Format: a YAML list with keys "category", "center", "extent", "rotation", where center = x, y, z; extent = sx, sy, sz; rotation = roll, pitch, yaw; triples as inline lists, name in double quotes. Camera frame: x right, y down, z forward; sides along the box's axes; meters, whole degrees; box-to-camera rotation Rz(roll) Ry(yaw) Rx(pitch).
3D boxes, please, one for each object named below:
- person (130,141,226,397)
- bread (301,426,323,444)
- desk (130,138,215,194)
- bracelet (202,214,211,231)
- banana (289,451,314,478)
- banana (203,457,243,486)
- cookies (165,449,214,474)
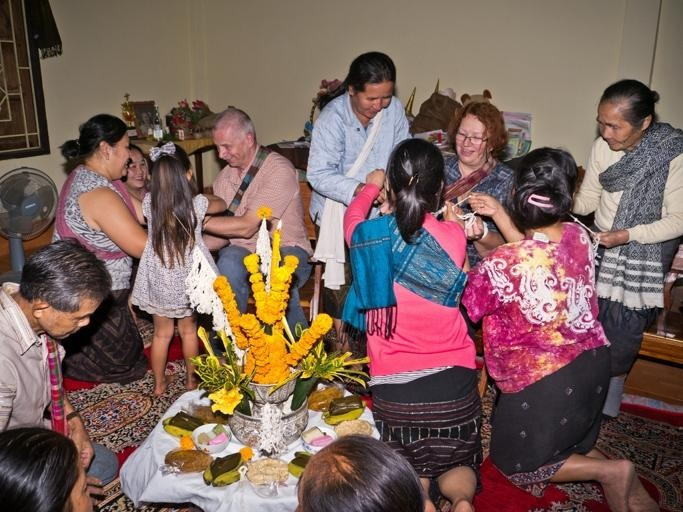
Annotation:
- category: "person"
  center: [-1.105, 0.151, 3.206]
  extent: [0.617, 1.780, 0.365]
  rotation: [3, 14, 7]
- category: "bread"
  center: [-0.125, 0.771, 2.071]
  extent: [0.062, 0.064, 0.046]
  rotation: [-22, 4, -23]
- category: "desk"
  center: [-1.972, -1.196, 6.057]
  extent: [0.536, 0.650, 0.662]
  rotation: [10, 9, 37]
- category: "bracelet"
  center: [-0.925, -0.226, 3.218]
  extent: [0.031, 0.089, 0.063]
  rotation: [23, -6, -37]
- category: "banana"
  center: [-0.174, 0.855, 1.956]
  extent: [0.099, 0.049, 0.130]
  rotation: [-6, -3, -22]
- category: "banana"
  center: [-0.474, 0.867, 1.908]
  extent: [0.152, 0.074, 0.101]
  rotation: [-4, 15, -18]
- category: "cookies"
  center: [-0.635, 0.848, 1.959]
  extent: [0.121, 0.039, 0.091]
  rotation: [3, 17, -1]
